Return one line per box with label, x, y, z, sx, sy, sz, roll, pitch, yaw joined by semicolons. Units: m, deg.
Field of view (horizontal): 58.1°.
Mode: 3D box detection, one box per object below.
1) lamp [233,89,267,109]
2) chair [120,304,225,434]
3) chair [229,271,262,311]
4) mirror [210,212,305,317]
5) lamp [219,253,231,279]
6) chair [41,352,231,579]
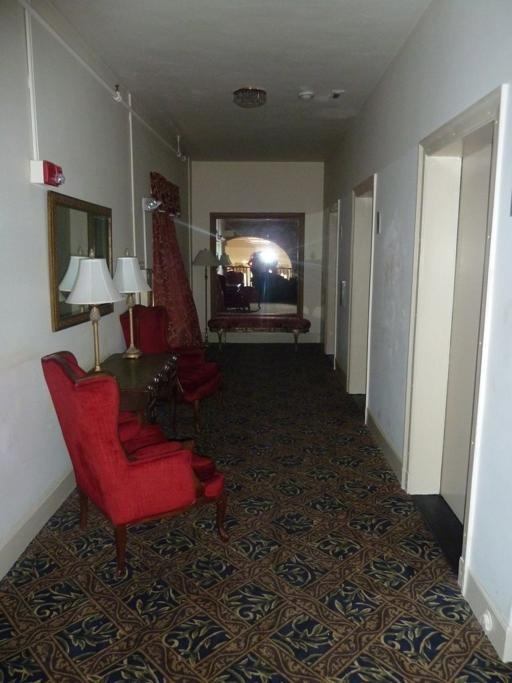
lamp;-0.062;-2.528;4.775;0.338;0.082;0.415;0;7;0
chair;-0.868;0.203;4.729;0.833;1.211;0.836;2;8;18
chair;-0.214;-1.099;9.298;0.675;0.935;0.671;0;23;-1
mirror;0.056;-1.592;8.916;1.825;2.313;0.156;0;7;-3
lamp;-0.592;-1.489;8.922;0.291;0.498;0.292;9;22;20
chair;-0.626;0.544;2.516;0.857;1.029;0.805;-2;12;-19
